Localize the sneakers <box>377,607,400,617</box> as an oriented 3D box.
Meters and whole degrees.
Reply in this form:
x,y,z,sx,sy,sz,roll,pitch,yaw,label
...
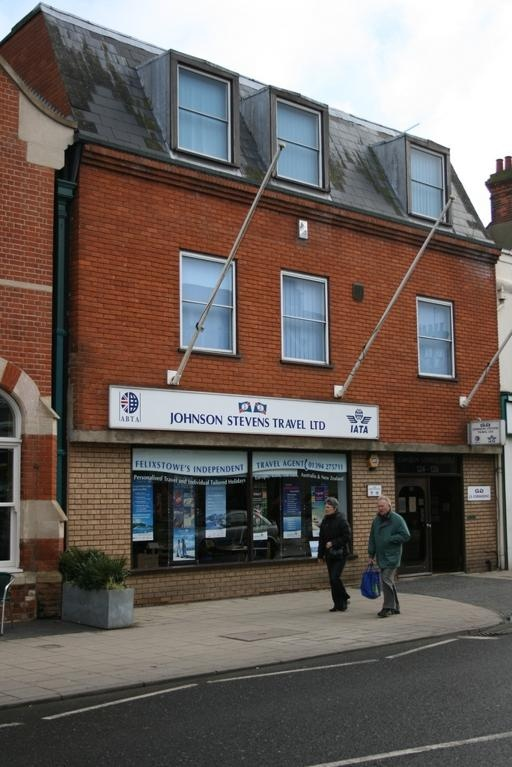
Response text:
x,y,z,sx,sy,sz,roll,pitch,yaw,label
1.766,3.024,11.911,0.310,0.153,0.107,8,-14,-36,sneakers

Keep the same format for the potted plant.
x,y,z,sx,sy,sz,roll,pitch,yaw,label
-2.014,2.500,11.183,0.846,1.005,0.489,2,4,34,potted plant

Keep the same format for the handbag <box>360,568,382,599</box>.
x,y,z,sx,sy,sz,roll,pitch,yaw,label
1.535,2.653,12.011,0.224,0.411,0.402,-2,-11,9,handbag

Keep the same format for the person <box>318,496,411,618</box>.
x,y,z,sx,sy,sz,roll,pitch,yaw,label
1.449,2.320,12.293,1.177,1.742,0.657,0,9,12,person
